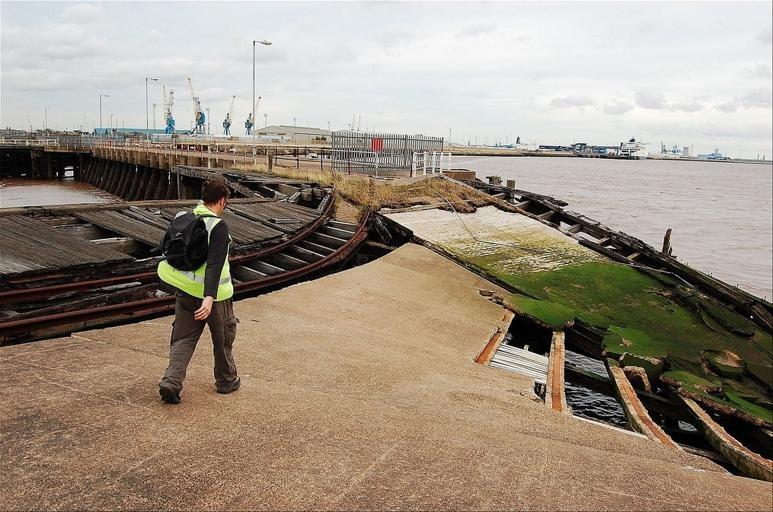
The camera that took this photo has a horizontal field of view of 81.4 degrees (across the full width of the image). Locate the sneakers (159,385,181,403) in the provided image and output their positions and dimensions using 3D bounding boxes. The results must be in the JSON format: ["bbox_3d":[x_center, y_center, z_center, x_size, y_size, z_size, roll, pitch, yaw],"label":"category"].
[{"bbox_3d":[-2.478,1.603,5.108,0.156,0.310,0.139,4,41,-5],"label":"sneakers"}]

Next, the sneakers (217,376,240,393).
[{"bbox_3d":[-1.989,1.634,5.665,0.142,0.124,0.317,5,8,19],"label":"sneakers"}]
